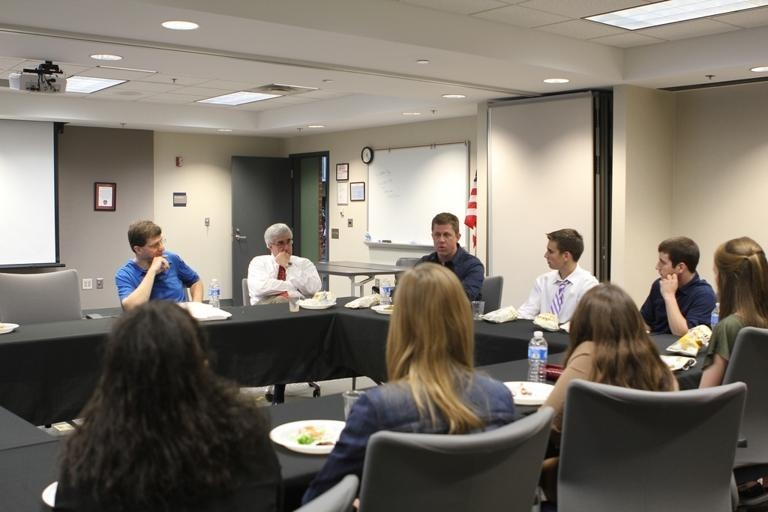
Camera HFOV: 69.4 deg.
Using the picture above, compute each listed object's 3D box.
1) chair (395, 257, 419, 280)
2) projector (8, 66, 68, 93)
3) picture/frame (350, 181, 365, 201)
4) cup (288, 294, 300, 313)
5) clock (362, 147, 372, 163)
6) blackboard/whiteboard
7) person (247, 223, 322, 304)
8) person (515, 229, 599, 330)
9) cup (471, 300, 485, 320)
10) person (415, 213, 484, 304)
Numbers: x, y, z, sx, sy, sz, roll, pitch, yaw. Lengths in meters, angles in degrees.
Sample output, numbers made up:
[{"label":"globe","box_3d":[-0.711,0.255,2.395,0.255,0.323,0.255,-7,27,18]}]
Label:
[{"label":"chair","box_3d":[0.311,0.138,6.680,0.283,0.335,0.256,5,-7,-34]},{"label":"projector","box_3d":[-3.366,-1.727,5.420,0.401,0.250,0.379,-3,9,-30]},{"label":"picture/frame","box_3d":[-0.416,-1.054,9.043,0.332,0.343,0.034,0,0,43]},{"label":"cup","box_3d":[-0.696,0.359,4.234,0.115,0.152,0.121,2,-1,0]},{"label":"clock","box_3d":[-0.261,-1.609,8.842,0.040,0.248,0.240,-3,7,-38]},{"label":"blackboard/whiteboard","box_3d":[0.501,-0.860,7.807,0.183,1.545,1.810,2,-2,-43]},{"label":"person","box_3d":[-0.921,0.162,4.995,0.665,0.889,0.661,-1,-1,40]},{"label":"person","box_3d":[1.278,0.217,4.113,0.507,0.788,0.561,-3,8,-32]},{"label":"cup","box_3d":[0.668,0.382,3.963,0.145,0.165,0.149,1,-3,0]},{"label":"person","box_3d":[0.490,0.107,4.454,0.567,0.839,0.564,1,1,13]}]
